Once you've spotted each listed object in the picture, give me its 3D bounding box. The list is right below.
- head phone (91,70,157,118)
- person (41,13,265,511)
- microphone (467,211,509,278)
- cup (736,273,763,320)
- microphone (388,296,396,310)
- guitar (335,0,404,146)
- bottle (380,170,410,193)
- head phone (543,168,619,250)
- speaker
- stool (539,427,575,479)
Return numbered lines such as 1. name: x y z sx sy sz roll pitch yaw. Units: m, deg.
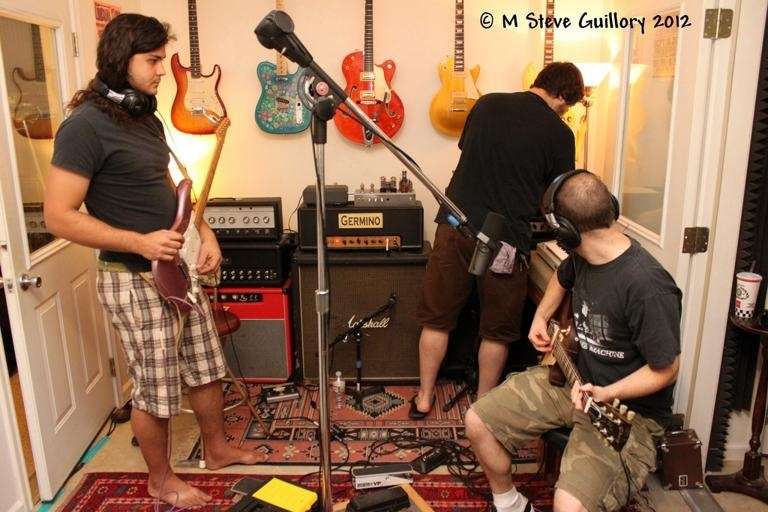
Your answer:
1. head phone: -1.238 -0.761 2.791 0.274 0.181 0.152 -8 14 -26
2. person: -1.196 0.089 2.951 0.809 2.512 0.401 -9 15 -30
3. microphone: 0.410 -0.046 2.357 0.128 0.273 0.095 20 5 32
4. cup: 1.887 0.207 3.045 0.097 0.231 0.066 3 13 20
5. microphone: 0.057 0.303 3.924 0.057 0.089 0.026 -2 13 -1
6. guitar: -0.109 -1.273 4.070 0.506 0.991 0.270 -3 13 -5
7. bottle: 0.070 -0.500 4.096 0.187 0.185 0.192 2 10 16
8. head phone: 0.914 -0.198 2.713 0.411 0.364 0.163 -9 -16 -28
9. speaker: -0.101 0.327 4.284 1.192 1.229 0.723 0 14 -1
10. stool: 0.925 1.091 3.259 0.161 0.256 0.158 28 -22 -30
